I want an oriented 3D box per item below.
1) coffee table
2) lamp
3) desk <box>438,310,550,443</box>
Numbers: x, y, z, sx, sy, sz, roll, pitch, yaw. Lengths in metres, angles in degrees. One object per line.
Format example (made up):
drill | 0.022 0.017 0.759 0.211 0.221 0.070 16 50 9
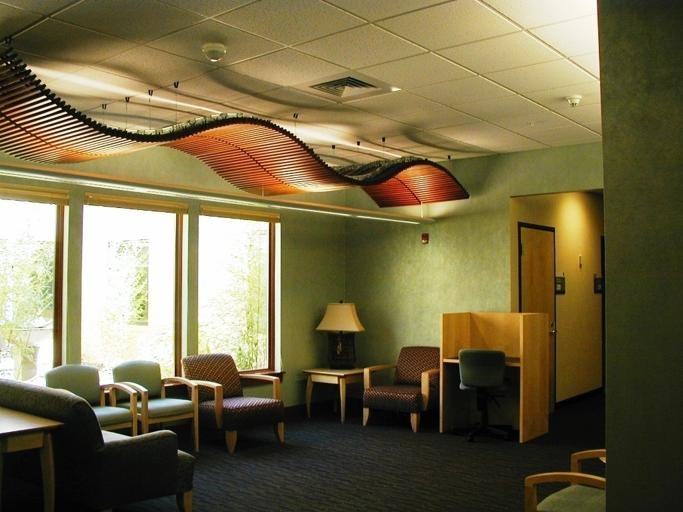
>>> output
coffee table | -0.116 2.179 8.648 0.898 0.709 0.848 -1 -8 21
lamp | -0.038 1.290 8.886 0.735 1.039 0.692 0 -4 -3
desk | 2.145 1.605 7.569 1.308 1.638 0.989 -2 -4 30
